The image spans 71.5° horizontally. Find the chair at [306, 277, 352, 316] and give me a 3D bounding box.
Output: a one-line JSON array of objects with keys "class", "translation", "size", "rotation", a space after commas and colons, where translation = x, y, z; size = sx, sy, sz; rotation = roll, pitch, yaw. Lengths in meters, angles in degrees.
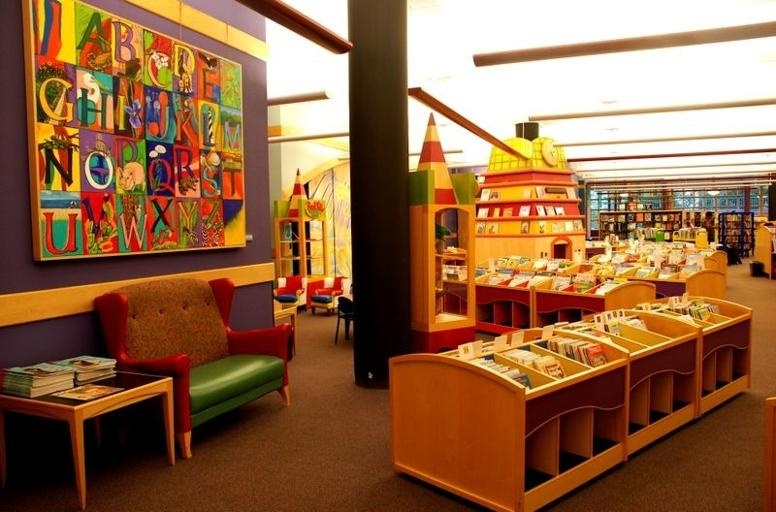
[{"class": "chair", "translation": [-1.266, 0.853, 11.932], "size": [0.658, 0.750, 0.815], "rotation": [2, 4, 35]}]

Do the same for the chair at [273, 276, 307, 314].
[{"class": "chair", "translation": [-2.102, 0.771, 11.625], "size": [0.619, 0.737, 0.692], "rotation": [0, 1, 16]}]

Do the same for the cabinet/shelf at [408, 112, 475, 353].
[{"class": "cabinet/shelf", "translation": [0.614, -0.185, 7.865], "size": [0.846, 3.060, 1.045], "rotation": [-5, 8, -31]}]

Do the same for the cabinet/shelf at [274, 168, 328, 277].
[{"class": "cabinet/shelf", "translation": [-2.129, -0.661, 12.991], "size": [1.247, 2.798, 2.408], "rotation": [-1, 13, 0]}]

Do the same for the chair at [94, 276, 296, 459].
[{"class": "chair", "translation": [-2.202, 1.122, 6.116], "size": [1.465, 1.546, 1.815], "rotation": [6, 6, 22]}]
